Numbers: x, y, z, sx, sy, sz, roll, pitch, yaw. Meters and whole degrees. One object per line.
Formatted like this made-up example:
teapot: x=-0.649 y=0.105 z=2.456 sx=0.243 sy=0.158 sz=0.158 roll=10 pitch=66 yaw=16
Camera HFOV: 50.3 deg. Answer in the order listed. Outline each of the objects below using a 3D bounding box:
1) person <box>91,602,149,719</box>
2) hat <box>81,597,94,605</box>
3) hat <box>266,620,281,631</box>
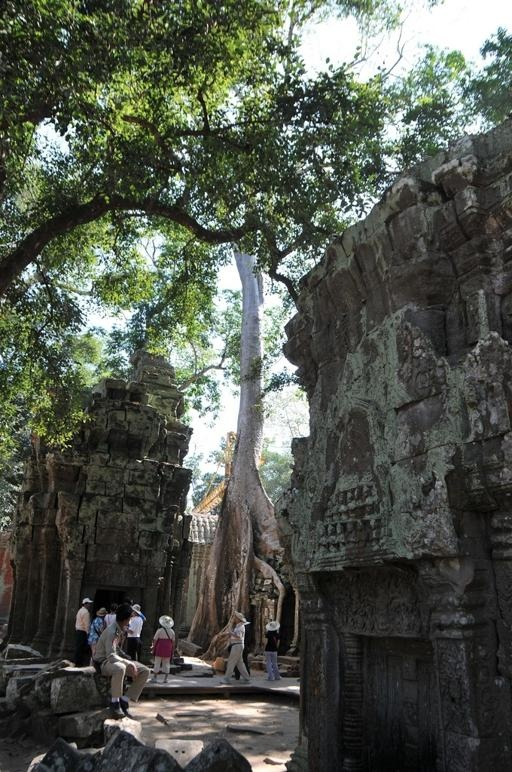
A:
person: x=-1.236 y=2.469 z=4.945 sx=0.535 sy=0.942 sz=1.128 roll=6 pitch=-21 yaw=-7
hat: x=-2.756 y=3.461 z=8.853 sx=0.216 sy=0.094 sz=0.291 roll=-2 pitch=-20 yaw=-5
hat: x=0.350 y=4.335 z=9.869 sx=0.179 sy=0.171 sz=0.700 roll=0 pitch=-21 yaw=8
